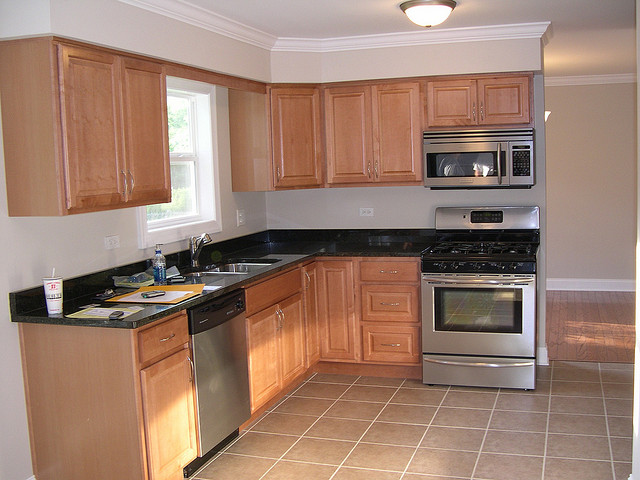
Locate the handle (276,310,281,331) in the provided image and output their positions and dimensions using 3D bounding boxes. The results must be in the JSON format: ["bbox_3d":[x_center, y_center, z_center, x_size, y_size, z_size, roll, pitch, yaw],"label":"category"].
[{"bbox_3d":[-0.316,0.608,3.808,0.005,0.146,0.051,1,11,29],"label":"handle"}]

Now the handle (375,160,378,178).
[{"bbox_3d":[0.504,-0.644,4.462,0.024,0.108,0.038,-2,4,11],"label":"handle"}]

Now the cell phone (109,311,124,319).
[{"bbox_3d":[-1.076,0.394,2.624,0.060,0.013,0.111,-3,7,-3],"label":"cell phone"}]

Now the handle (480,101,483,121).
[{"bbox_3d":[1.373,-1.107,4.236,0.020,0.147,0.018,0,11,24],"label":"handle"}]

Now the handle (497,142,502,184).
[{"bbox_3d":[1.511,-0.645,4.189,0.032,0.340,0.032,-3,10,10],"label":"handle"}]

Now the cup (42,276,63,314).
[{"bbox_3d":[-1.468,0.302,2.748,0.087,0.189,0.142,-8,10,-22],"label":"cup"}]

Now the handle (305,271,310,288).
[{"bbox_3d":[-0.106,0.332,4.253,0.013,0.152,0.087,-2,9,15],"label":"handle"}]

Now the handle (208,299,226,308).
[{"bbox_3d":[-0.648,0.396,3.098,0.074,0.014,0.065,-10,8,8],"label":"handle"}]

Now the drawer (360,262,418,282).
[{"bbox_3d":[0.591,0.267,4.238,0.374,0.096,0.202,1,1,11],"label":"drawer"}]

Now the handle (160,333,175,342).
[{"bbox_3d":[-0.842,0.538,2.750,0.105,0.011,0.013,-19,43,24],"label":"handle"}]

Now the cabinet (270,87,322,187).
[{"bbox_3d":[-0.285,-0.918,4.578,0.531,0.826,0.461,-3,6,-6],"label":"cabinet"}]

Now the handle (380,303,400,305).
[{"bbox_3d":[0.603,0.546,4.263,0.221,0.020,0.034,1,3,10],"label":"handle"}]

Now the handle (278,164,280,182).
[{"bbox_3d":[-0.366,-0.582,4.363,0.009,0.120,0.019,5,14,45],"label":"handle"}]

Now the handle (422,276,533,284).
[{"bbox_3d":[1.247,0.317,3.961,0.826,0.059,0.022,-1,10,13],"label":"handle"}]

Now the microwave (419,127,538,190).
[{"bbox_3d":[1.527,-0.706,4.410,0.550,0.502,1.113,-10,13,-36],"label":"microwave"}]

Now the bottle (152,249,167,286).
[{"bbox_3d":[-1.084,0.183,3.338,0.089,0.219,0.268,-7,9,-18],"label":"bottle"}]
